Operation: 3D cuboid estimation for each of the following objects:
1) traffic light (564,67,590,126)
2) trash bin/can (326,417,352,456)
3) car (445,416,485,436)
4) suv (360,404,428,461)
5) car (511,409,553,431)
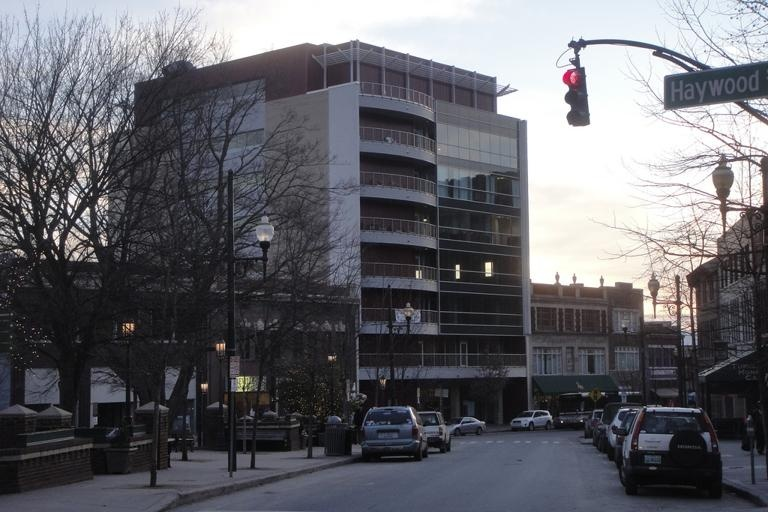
[{"bbox_3d":[4.797,-4.120,26.919,0.549,1.903,1.351,-4,-14,10],"label":"traffic light"},{"bbox_3d":[-1.962,7.851,46.258,1.192,1.644,1.225,0,-3,3],"label":"trash bin/can"},{"bbox_3d":[5.854,12.328,77.903,2.581,0.878,1.132,10,-13,-41],"label":"car"},{"bbox_3d":[0.514,7.165,44.484,1.600,1.463,3.009,-1,-3,6],"label":"suv"},{"bbox_3d":[11.590,13.033,85.365,1.490,1.257,3.163,-10,-15,42],"label":"car"}]
